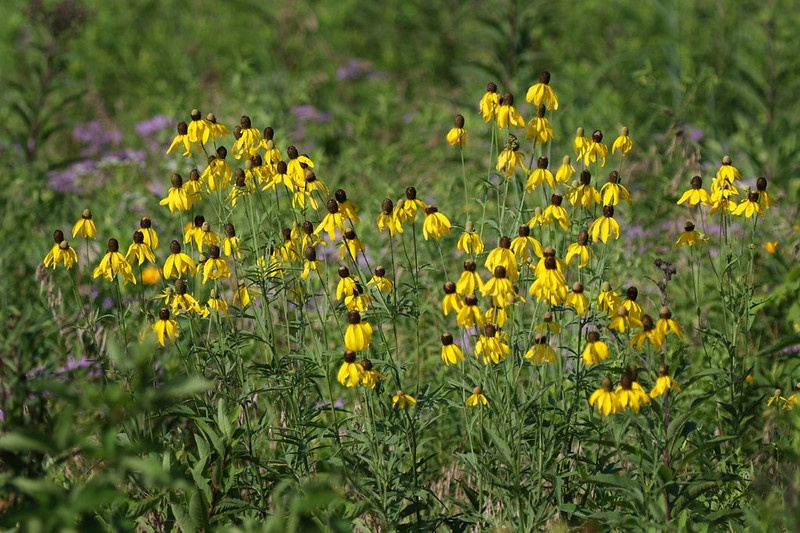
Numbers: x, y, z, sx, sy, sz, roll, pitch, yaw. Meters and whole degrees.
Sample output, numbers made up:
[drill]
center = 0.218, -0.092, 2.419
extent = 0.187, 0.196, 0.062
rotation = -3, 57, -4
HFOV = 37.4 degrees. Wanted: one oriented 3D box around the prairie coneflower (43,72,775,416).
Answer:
[prairie coneflower]
center = 0.393, 0.148, 7.943
extent = 3.592, 1.822, 2.915
rotation = 3, 15, -5
